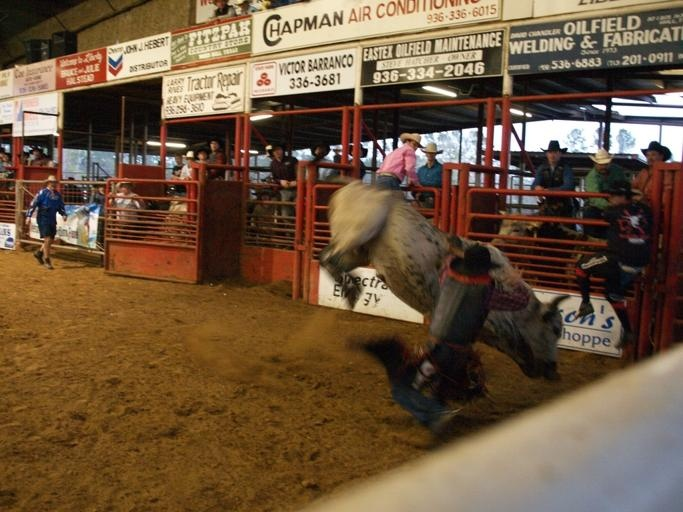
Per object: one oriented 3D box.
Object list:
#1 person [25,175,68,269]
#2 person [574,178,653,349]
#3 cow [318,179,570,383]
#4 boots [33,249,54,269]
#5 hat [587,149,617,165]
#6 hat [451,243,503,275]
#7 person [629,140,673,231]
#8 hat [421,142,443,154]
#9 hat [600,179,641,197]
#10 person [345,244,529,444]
[{"bbox_3d":[-6.484,-0.724,12.206,0.836,1.947,0.867,2,8,-21],"label":"person"},{"bbox_3d":[2.936,0.119,5.996,0.667,1.778,0.440,9,10,40],"label":"person"},{"bbox_3d":[0.653,0.204,3.658,1.618,1.339,0.406,1,8,-12],"label":"cow"},{"bbox_3d":[-6.527,0.082,12.184,0.500,0.207,0.161,39,19,6],"label":"boots"},{"bbox_3d":[3.399,-1.294,7.266,0.236,0.208,0.300,5,8,18],"label":"hat"},{"bbox_3d":[0.864,0.017,3.562,0.217,0.179,0.366,6,9,28],"label":"hat"},{"bbox_3d":[3.953,-0.979,7.046,0.498,0.922,0.365,-5,-28,36],"label":"person"},{"bbox_3d":[1.518,-1.841,9.239,0.287,0.104,0.308,5,-11,15],"label":"hat"},{"bbox_3d":[3.100,-0.724,6.110,0.430,0.115,0.422,6,6,29],"label":"hat"},{"bbox_3d":[0.636,0.518,3.688,1.237,1.211,0.557,3,20,-7],"label":"person"}]
